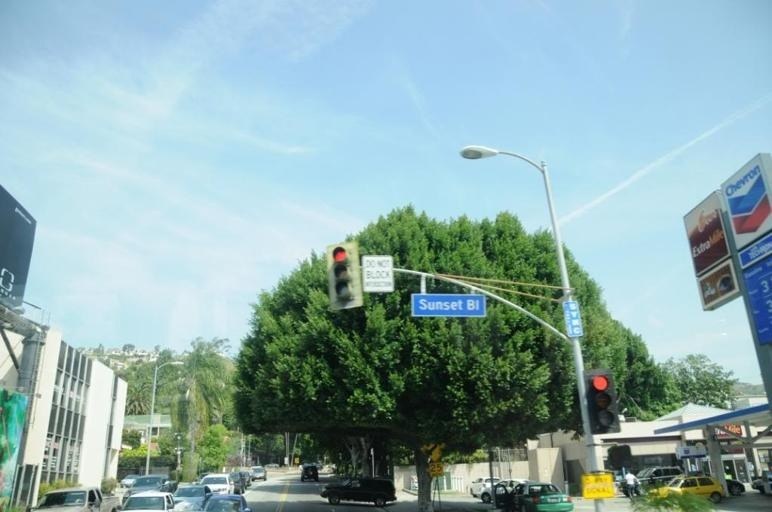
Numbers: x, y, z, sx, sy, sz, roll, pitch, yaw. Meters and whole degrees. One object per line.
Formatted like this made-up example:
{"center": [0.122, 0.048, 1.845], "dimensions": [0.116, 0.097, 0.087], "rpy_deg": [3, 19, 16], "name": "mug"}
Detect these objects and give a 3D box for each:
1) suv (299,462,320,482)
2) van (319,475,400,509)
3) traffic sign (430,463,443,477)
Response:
{"center": [-10.394, 29.632, 80.416], "dimensions": [1.912, 1.933, 3.693], "rpy_deg": [2, -13, -1], "name": "suv"}
{"center": [-2.092, 19.817, 49.211], "dimensions": [5.493, 2.556, 1.508], "rpy_deg": [-5, -24, 2], "name": "van"}
{"center": [3.370, 14.621, 40.271], "dimensions": [0.956, 0.988, 0.144], "rpy_deg": [-4, 2, 16], "name": "traffic sign"}
